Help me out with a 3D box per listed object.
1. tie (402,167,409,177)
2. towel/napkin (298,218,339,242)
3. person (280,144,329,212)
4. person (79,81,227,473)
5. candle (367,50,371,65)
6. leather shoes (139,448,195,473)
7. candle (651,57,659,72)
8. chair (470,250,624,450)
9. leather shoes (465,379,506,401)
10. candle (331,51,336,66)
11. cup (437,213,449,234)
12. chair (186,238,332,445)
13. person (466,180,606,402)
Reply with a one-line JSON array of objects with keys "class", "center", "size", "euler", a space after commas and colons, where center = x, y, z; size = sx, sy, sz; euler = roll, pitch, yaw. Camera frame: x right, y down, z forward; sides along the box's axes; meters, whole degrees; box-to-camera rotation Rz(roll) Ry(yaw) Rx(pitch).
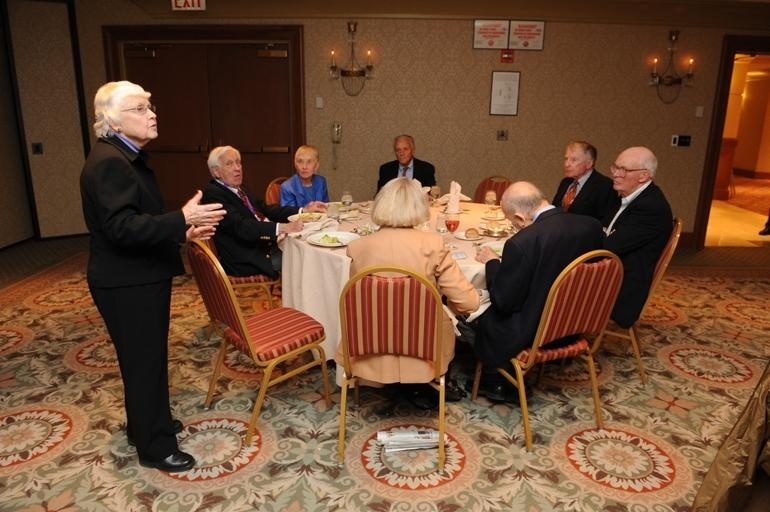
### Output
[{"class": "tie", "center": [0.246, -0.953, 5.793], "size": [0.081, 0.086, 0.145], "euler": [-2, 21, -8]}, {"class": "towel/napkin", "center": [-0.528, -0.234, 4.140], "size": [0.205, 0.067, 0.201], "euler": [-14, 17, -39]}, {"class": "person", "center": [-0.793, -0.714, 5.109], "size": [0.556, 0.721, 0.488], "euler": [-8, 17, -31]}, {"class": "person", "center": [-1.381, 0.161, 3.034], "size": [0.659, 2.223, 0.580], "euler": [13, 24, 27]}, {"class": "candle", "center": [-0.190, -2.493, 6.495], "size": [0.048, 0.168, 0.053], "euler": [0, 21, -3]}, {"class": "leather shoes", "center": [-1.312, 1.228, 3.208], "size": [0.355, 0.145, 0.133], "euler": [-1, 6, -7]}, {"class": "candle", "center": [3.441, -2.431, 6.581], "size": [0.107, 0.153, 0.049], "euler": [1, 21, 0]}, {"class": "chair", "center": [1.177, 0.553, 3.307], "size": [0.778, 1.261, 0.348], "euler": [-7, 23, -21]}, {"class": "leather shoes", "center": [0.736, 0.946, 3.762], "size": [0.117, 0.119, 0.260], "euler": [2, 4, -35]}, {"class": "candle", "center": [-0.642, -2.479, 6.483], "size": [0.050, 0.185, 0.078], "euler": [-1, 21, -6]}, {"class": "cup", "center": [0.471, -0.270, 4.202], "size": [0.121, 0.133, 0.129], "euler": [0, 17, 0]}, {"class": "chair", "center": [-0.877, 0.623, 3.697], "size": [0.925, 1.410, 0.764], "euler": [-17, 30, -35]}, {"class": "person", "center": [0.955, 0.297, 3.613], "size": [0.870, 1.528, 0.845], "euler": [14, 20, 25]}]
